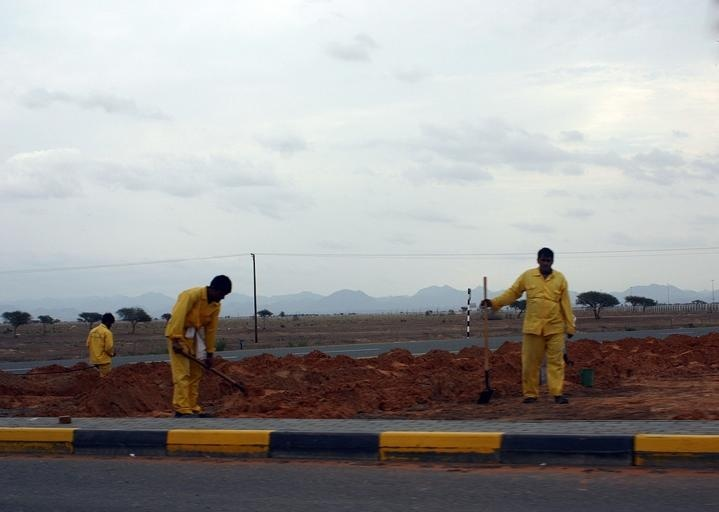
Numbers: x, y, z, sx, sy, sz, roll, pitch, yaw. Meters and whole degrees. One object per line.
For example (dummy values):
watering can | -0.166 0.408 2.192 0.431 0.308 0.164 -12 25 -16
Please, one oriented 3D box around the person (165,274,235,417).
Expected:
person | -2.549 1.428 15.053 0.933 2.176 0.764 -2 -5 -11

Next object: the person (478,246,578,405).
person | 2.951 1.127 15.569 1.182 2.500 1.262 -4 -5 10

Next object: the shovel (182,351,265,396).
shovel | -2.501 2.237 17.796 2.276 0.249 0.301 27 -23 -24

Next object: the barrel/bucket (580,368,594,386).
barrel/bucket | 4.239 2.240 17.514 0.206 0.310 0.657 -4 -4 11

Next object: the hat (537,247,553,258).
hat | 2.616 -0.043 13.132 0.211 0.126 0.206 3 1 37
